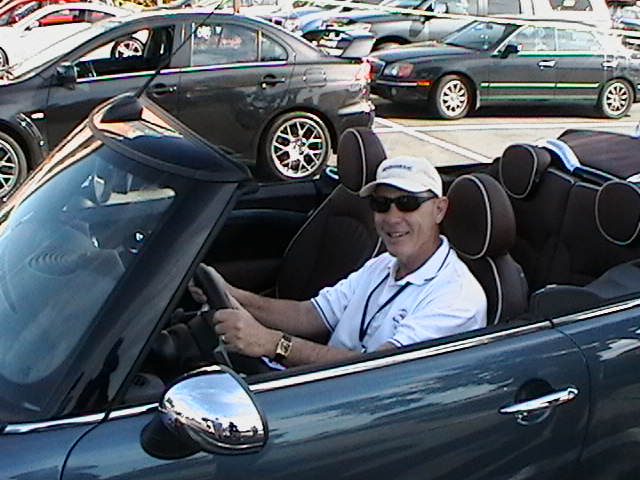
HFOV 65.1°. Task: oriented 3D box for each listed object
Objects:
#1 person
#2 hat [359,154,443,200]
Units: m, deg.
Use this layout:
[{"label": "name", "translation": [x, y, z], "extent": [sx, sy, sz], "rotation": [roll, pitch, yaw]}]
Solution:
[{"label": "person", "translation": [0.111, 0.078, 2.485], "extent": [1.285, 1.153, 0.888], "rotation": [12, 12, -28]}, {"label": "hat", "translation": [0.377, -0.273, 2.239], "extent": [0.287, 0.117, 0.212], "rotation": [4, -5, -42]}]
